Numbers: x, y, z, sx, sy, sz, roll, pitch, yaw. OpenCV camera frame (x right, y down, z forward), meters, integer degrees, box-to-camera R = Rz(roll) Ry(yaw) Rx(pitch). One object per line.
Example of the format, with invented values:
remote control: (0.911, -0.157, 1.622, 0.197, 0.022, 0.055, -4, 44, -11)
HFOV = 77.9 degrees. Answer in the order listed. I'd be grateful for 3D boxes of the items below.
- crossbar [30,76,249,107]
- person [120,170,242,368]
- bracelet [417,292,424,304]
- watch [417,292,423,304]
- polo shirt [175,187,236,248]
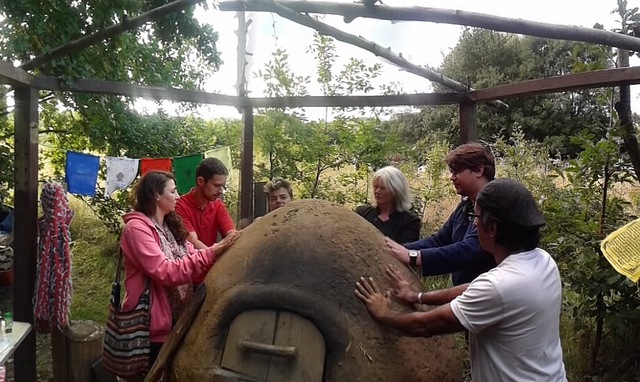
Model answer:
crossbar: (-2.411, -1.400, 5.553, 2.703, 0.385, 0.228, 5, -7, -25)
person: (-1.514, 0.602, 4.245, 0.878, 2.433, 0.961, 0, 0, -17)
bracelet: (0.916, 0.982, 3.600, 0.037, 0.114, 0.113, 7, 5, 19)
watch: (0.911, 0.983, 3.601, 0.035, 0.109, 0.107, 1, 6, 23)
polo shirt: (-1.348, 0.310, 4.669, 0.699, 0.681, 0.323, 5, -6, -25)
